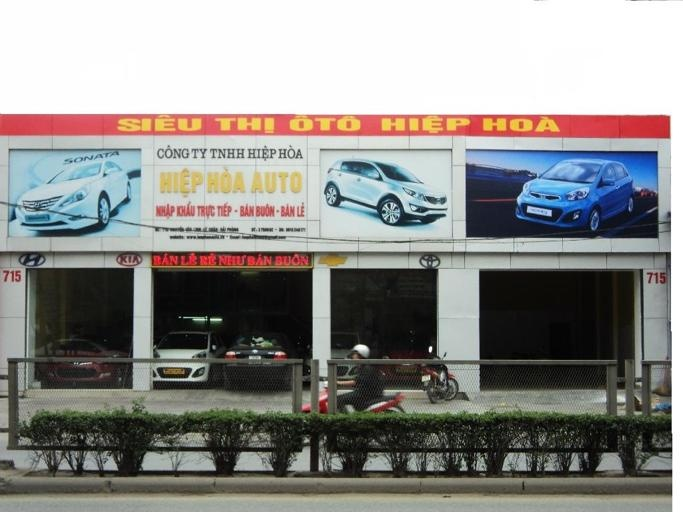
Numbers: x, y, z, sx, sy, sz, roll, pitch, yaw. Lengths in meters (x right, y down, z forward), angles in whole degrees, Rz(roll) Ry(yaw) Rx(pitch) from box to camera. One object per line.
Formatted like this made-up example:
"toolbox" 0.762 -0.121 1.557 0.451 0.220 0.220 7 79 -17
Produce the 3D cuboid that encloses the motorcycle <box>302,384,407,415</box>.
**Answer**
"motorcycle" 0.302 3.273 30.022 1.983 1.054 0.821 2 -13 6
